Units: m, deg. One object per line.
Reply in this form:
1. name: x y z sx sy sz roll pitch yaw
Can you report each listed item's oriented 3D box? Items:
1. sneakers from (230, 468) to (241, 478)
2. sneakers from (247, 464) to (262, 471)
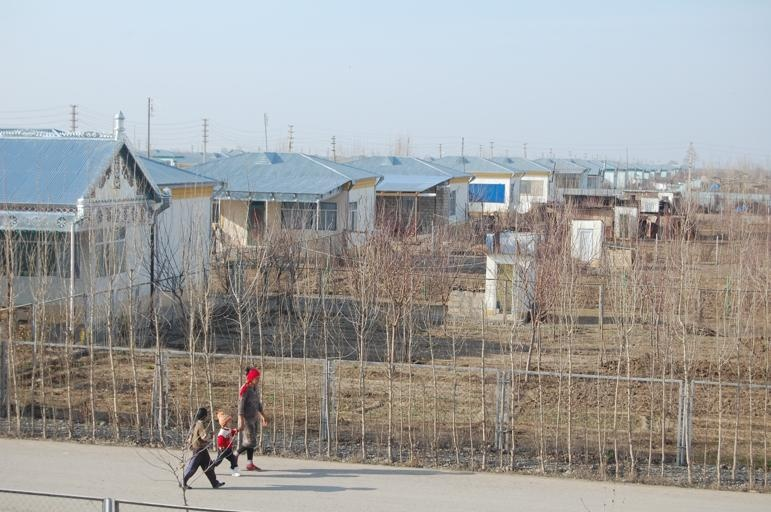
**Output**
1. sneakers: -3.755 5.357 45.343 0.294 0.202 0.115 1 5 8
2. sneakers: -3.337 5.257 45.589 0.422 0.181 0.157 2 5 -8
